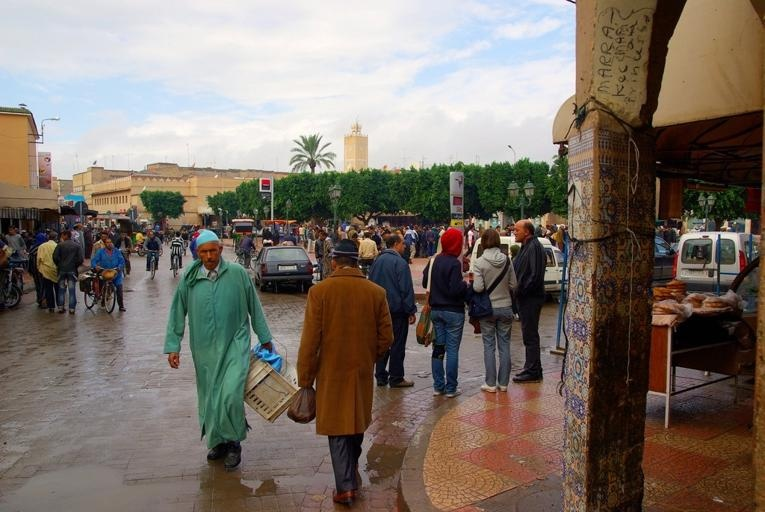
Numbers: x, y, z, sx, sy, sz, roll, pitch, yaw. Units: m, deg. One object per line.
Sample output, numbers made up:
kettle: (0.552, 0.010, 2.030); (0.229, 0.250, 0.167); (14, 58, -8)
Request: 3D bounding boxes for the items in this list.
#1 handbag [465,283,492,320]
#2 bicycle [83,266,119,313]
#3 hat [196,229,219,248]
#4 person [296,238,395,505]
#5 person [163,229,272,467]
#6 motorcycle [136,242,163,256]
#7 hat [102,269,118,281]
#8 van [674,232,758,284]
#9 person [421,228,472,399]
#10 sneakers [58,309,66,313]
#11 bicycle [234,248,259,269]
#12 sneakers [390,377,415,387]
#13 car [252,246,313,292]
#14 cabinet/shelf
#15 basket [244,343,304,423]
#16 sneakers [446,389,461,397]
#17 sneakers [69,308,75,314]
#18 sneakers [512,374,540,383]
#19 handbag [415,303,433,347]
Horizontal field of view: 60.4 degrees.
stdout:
handbag: (1.310, 0.581, 8.873); (0.442, 0.601, 0.329); (2, 7, 20)
bicycle: (-7.040, 0.779, 16.178); (0.642, 0.864, 1.404); (3, -3, -39)
hat: (-1.883, -0.192, 7.062); (0.195, 0.134, 0.200); (1, 7, 23)
person: (-0.378, 1.130, 6.526); (0.542, 2.549, 0.823); (5, 9, 40)
person: (-1.735, 0.875, 7.021); (1.086, 2.299, 0.640); (-3, 7, -15)
motorcycle: (-10.769, -0.344, 30.270); (1.221, 0.836, 0.778); (-1, 3, 7)
hat: (-6.546, 0.444, 15.796); (0.217, 0.179, 0.285); (7, 14, 2)
van: (9.360, 0.441, 18.520); (2.006, 1.723, 3.204); (2, 7, 29)
person: (0.877, 0.772, 8.905); (0.621, 2.256, 0.522); (-1, 7, 3)
sneakers: (-7.757, 1.330, 15.886); (0.110, 0.127, 0.128); (-1, -4, 1)
bicycle: (-5.218, 0.069, 25.434); (0.682, 0.922, 1.535); (3, 9, 6)
sneakers: (0.284, 1.833, 9.491); (0.361, 0.162, 0.133); (-5, -1, -12)
car: (-3.219, 0.383, 21.193); (1.288, 0.960, 2.240); (-1, 6, -13)
cabinet/shelf: (3.681, 1.353, 8.348); (0.866, 1.166, 2.565); (-21, -19, 40)
basket: (-1.188, 1.369, 6.968); (0.548, 0.633, 0.363); (-2, 7, -11)
sneakers: (0.974, 1.864, 8.941); (0.080, 0.082, 0.199); (5, 11, 42)
sneakers: (-7.401, 1.323, 15.696); (0.121, 0.122, 0.120); (1, 0, -44)
sneakers: (2.049, 1.753, 9.347); (0.378, 0.170, 0.143); (3, -5, -4)
handbag: (0.564, 0.949, 8.802); (0.219, 0.587, 0.291); (-1, 7, 3)
